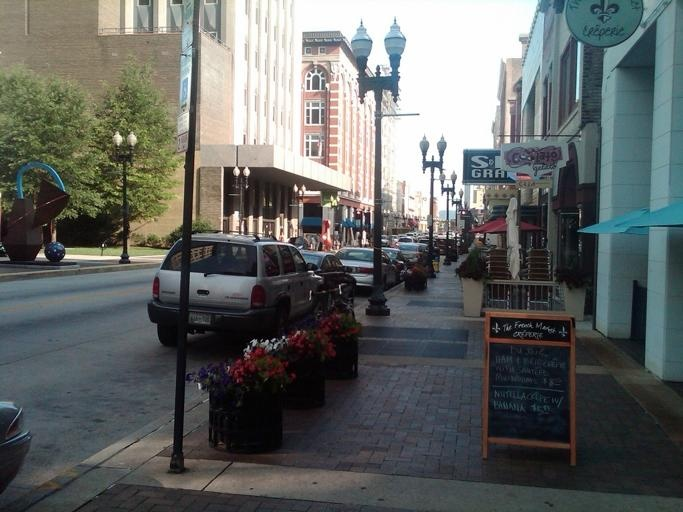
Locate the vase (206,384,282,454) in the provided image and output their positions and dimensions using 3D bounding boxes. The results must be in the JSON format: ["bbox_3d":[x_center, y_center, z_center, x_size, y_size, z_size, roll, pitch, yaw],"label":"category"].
[{"bbox_3d":[-1.160,1.777,7.625,0.880,0.719,0.928,5,-9,6],"label":"vase"}]

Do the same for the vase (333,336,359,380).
[{"bbox_3d":[0.013,1.498,10.089,0.467,0.568,0.534,1,-1,-3],"label":"vase"}]

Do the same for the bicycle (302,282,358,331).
[{"bbox_3d":[-0.283,0.974,13.280,0.457,0.752,2.169,5,9,18],"label":"bicycle"}]

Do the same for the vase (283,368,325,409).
[{"bbox_3d":[-0.434,1.738,8.921,0.617,0.512,0.657,-6,-13,17],"label":"vase"}]

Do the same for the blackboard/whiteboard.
[{"bbox_3d":[1.984,1.321,7.184,0.925,1.372,0.351,-1,3,16],"label":"blackboard/whiteboard"}]
